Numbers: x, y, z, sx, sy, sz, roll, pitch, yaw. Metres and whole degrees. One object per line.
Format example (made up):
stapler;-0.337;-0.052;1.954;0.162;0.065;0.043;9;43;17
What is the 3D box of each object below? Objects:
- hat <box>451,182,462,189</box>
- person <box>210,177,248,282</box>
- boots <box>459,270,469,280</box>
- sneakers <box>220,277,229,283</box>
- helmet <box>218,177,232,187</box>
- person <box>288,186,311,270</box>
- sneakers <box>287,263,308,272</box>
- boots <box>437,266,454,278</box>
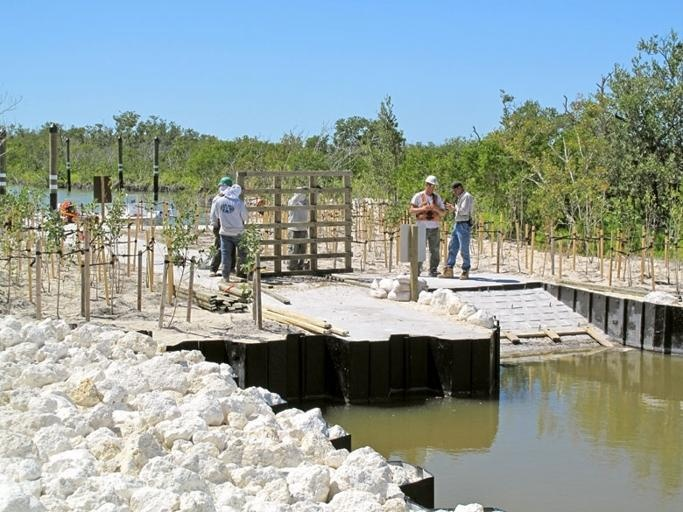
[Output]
hat;2.527;-1.555;17.357;0.207;0.169;0.248;1;0;6
person;-2.358;-0.567;16.558;0.729;2.130;1.561;0;1;-10
boots;2.697;0.402;17.286;0.215;0.240;0.109;2;2;-15
sneakers;-2.385;0.458;16.192;0.149;0.099;0.459;1;0;-9
helmet;-2.460;-1.568;16.767;0.249;0.199;0.340;-10;17;-36
person;-1.026;-0.657;18.702;0.485;1.929;1.366;1;1;-4
sneakers;-0.996;0.218;18.781;0.223;0.190;0.352;-1;-5;35
boots;2.306;0.338;17.566;0.349;0.290;0.166;7;7;5
